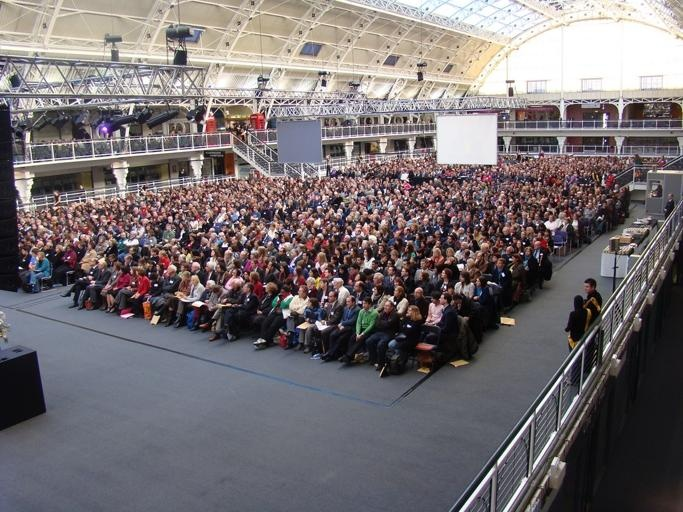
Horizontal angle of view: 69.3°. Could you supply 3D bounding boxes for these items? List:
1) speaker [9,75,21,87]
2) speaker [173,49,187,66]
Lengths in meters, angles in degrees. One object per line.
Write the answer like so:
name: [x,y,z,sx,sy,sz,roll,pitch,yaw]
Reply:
speaker: [-11.956,-6.435,18.157,0.347,0.434,0.152,-4,13,-8]
speaker: [-6.830,-8.513,21.033,0.477,0.782,1.060,-5,14,-10]
